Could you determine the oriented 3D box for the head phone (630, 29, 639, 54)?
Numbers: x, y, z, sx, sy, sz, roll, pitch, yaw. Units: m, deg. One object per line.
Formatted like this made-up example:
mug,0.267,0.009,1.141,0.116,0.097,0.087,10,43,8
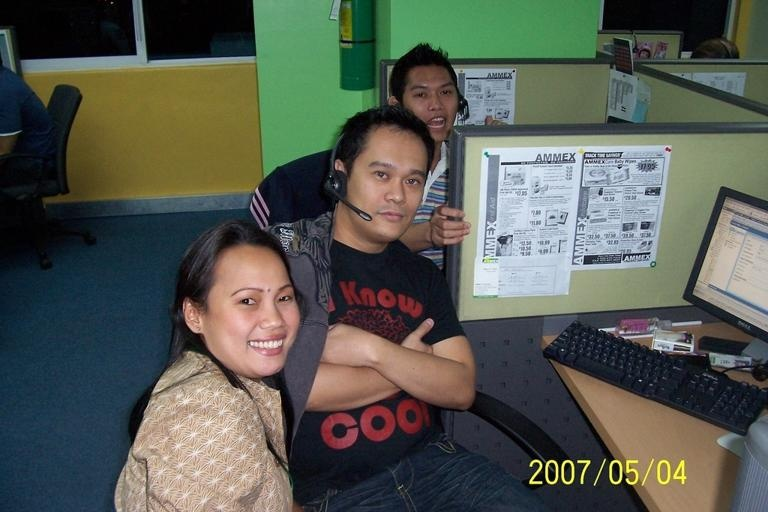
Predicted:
head phone,2.351,-2.009,5.360,0.096,0.197,0.445,8,23,20
